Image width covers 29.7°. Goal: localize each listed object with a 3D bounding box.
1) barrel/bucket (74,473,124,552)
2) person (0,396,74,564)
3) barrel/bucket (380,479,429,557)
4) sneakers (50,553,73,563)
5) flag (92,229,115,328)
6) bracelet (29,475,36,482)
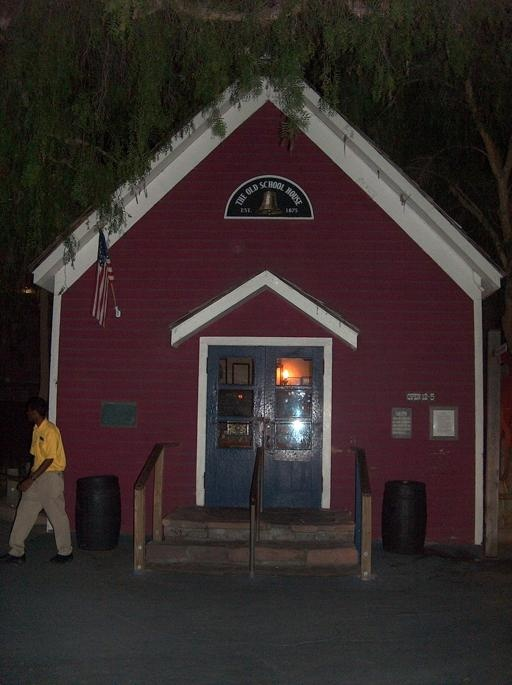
[{"bbox_3d":[-1.959,2.032,11.862,0.562,0.966,0.549,0,6,0],"label":"barrel/bucket"},{"bbox_3d":[-2.418,1.554,10.776,0.737,1.834,0.559,0,2,-22],"label":"person"},{"bbox_3d":[1.801,2.093,11.832,0.508,0.925,0.557,0,6,0],"label":"barrel/bucket"},{"bbox_3d":[-2.190,2.429,10.857,0.096,0.084,0.193,-6,-21,39],"label":"sneakers"},{"bbox_3d":[-1.964,-0.833,12.516,0.298,1.263,1.057,0,2,-8],"label":"flag"},{"bbox_3d":[-2.460,1.495,10.582,0.064,0.087,0.050,-2,-2,34],"label":"bracelet"}]
